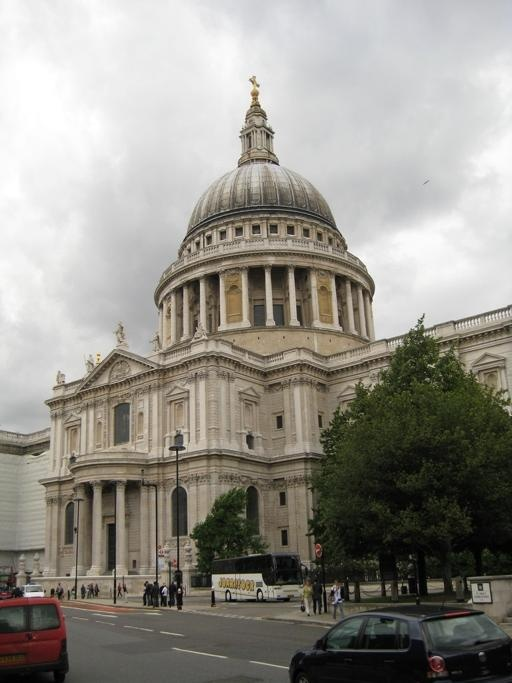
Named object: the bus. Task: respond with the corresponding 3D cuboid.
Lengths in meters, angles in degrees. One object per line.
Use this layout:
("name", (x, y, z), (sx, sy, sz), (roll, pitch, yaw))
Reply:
("bus", (-0.526, 13.808, 43.932), (2.464, 2.681, 8.053), (13, -30, -31))
